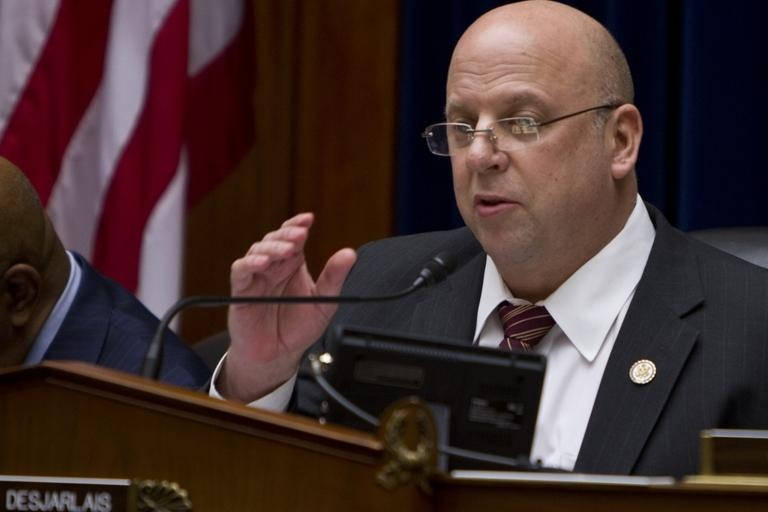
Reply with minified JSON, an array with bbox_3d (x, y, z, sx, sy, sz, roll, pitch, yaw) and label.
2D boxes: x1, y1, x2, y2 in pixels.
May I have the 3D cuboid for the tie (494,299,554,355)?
[{"bbox_3d":[0.400,0.190,2.930,0.124,0.152,0.044,4,-28,12],"label":"tie"}]

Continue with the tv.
[{"bbox_3d":[0.090,0.348,2.401,0.512,0.288,0.418,6,-12,-5],"label":"tv"}]

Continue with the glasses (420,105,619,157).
[{"bbox_3d":[0.393,-0.378,2.932,0.558,0.201,0.165,3,-11,10],"label":"glasses"}]
